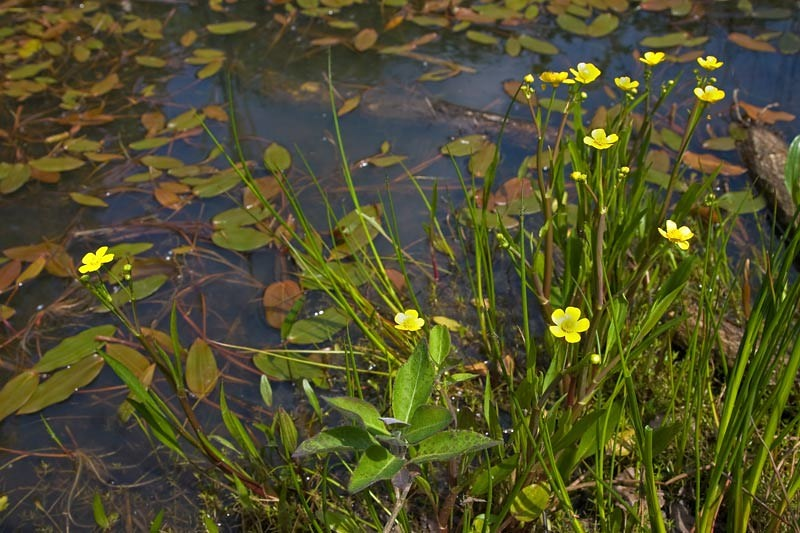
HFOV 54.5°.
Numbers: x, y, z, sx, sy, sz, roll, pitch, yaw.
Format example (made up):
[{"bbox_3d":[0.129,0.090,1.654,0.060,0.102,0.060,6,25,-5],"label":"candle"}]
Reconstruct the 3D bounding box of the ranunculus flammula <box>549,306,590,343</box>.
[{"bbox_3d":[0.461,0.164,2.121,0.102,0.055,0.104,-3,52,-4],"label":"ranunculus flammula"}]

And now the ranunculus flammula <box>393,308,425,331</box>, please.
[{"bbox_3d":[0.029,0.164,2.293,0.069,0.026,0.073,-1,64,12],"label":"ranunculus flammula"}]
